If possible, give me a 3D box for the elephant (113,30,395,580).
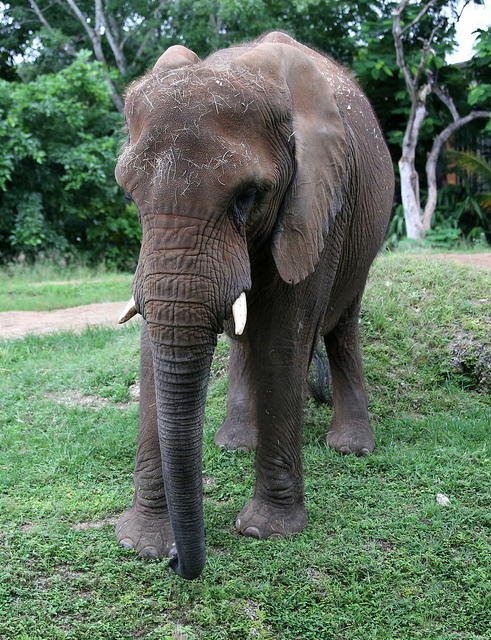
[{"bbox_3d":[0.047,-0.194,4.062,1.154,2.189,2.475,6,16,20],"label":"elephant"}]
